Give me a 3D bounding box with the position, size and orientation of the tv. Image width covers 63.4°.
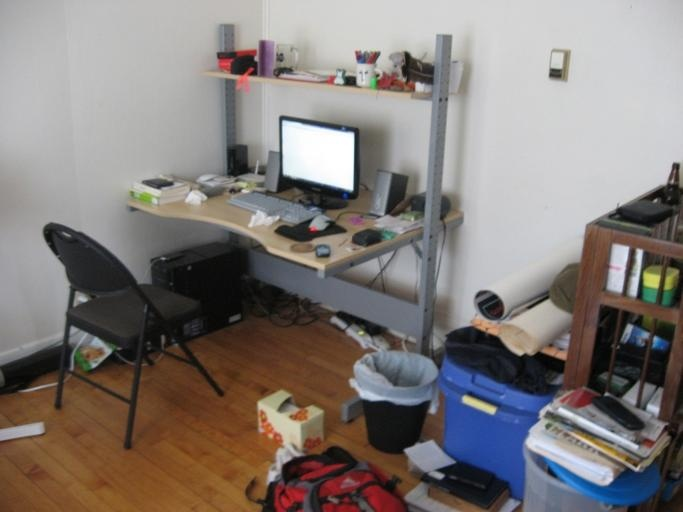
[{"bbox_3d":[-0.132,-0.535,3.219,0.499,0.408,0.181,20,29,34],"label":"tv"}]

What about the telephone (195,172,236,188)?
[{"bbox_3d":[-0.809,-0.488,3.581,0.135,0.042,0.163,17,25,33],"label":"telephone"}]

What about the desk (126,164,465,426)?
[{"bbox_3d":[-0.110,0.079,3.262,1.826,1.144,1.109,21,30,38],"label":"desk"}]

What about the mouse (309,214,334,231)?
[{"bbox_3d":[-0.113,-0.172,2.918,0.086,0.023,0.089,23,38,32],"label":"mouse"}]

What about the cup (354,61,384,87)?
[{"bbox_3d":[0.142,-0.965,2.962,0.127,0.121,0.132,0,21,0],"label":"cup"}]

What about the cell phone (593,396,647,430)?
[{"bbox_3d":[0.982,0.549,1.967,0.072,0.031,0.128,-15,29,-30],"label":"cell phone"}]

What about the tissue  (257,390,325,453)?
[{"bbox_3d":[-0.232,0.822,2.805,0.302,0.179,0.307,-17,27,-39],"label":"tissue "}]

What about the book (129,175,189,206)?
[{"bbox_3d":[-1.135,-0.406,3.349,0.243,0.072,0.201,19,28,35],"label":"book"}]

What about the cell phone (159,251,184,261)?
[{"bbox_3d":[-1.068,0.001,3.502,0.122,0.029,0.070,-11,11,-30],"label":"cell phone"}]

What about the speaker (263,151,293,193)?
[{"bbox_3d":[-0.388,-0.515,3.450,0.166,0.286,0.172,19,35,34],"label":"speaker"}]

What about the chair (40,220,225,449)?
[{"bbox_3d":[-1.121,0.300,2.867,0.684,1.077,0.704,17,27,37],"label":"chair"}]

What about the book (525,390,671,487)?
[{"bbox_3d":[0.916,0.645,1.971,0.398,0.159,0.336,15,26,34],"label":"book"}]

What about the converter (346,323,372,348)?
[{"bbox_3d":[0.123,0.519,3.577,0.095,0.041,0.155,-31,55,-22],"label":"converter"}]
